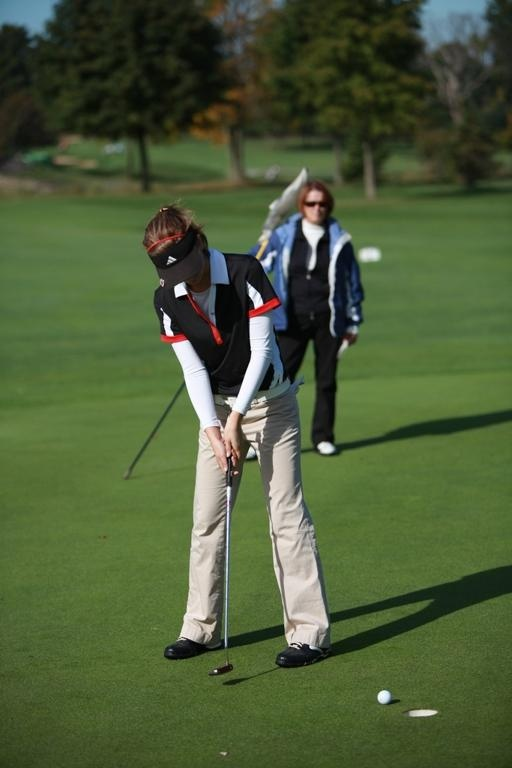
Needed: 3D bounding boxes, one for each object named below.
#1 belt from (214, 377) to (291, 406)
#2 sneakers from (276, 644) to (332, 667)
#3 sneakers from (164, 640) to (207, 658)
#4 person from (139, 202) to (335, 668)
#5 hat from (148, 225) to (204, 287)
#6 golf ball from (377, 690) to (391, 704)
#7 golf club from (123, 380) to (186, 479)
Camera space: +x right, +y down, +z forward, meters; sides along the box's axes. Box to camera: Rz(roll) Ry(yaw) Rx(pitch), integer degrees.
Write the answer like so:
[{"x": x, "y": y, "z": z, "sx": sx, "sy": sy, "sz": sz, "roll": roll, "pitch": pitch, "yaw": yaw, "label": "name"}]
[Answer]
[{"x": 0.007, "y": 0.038, "z": 2.926, "sx": 0.121, "sy": 0.037, "sz": 0.164, "roll": -17, "pitch": 6, "yaw": 42, "label": "belt"}, {"x": 0.158, "y": 0.914, "z": 2.967, "sx": 0.190, "sy": 0.067, "sz": 0.063, "roll": -1, "pitch": 8, "yaw": -22, "label": "sneakers"}, {"x": -0.249, "y": 0.929, "z": 3.057, "sx": 0.145, "sy": 0.056, "sz": 0.053, "roll": 1, "pitch": -6, "yaw": -21, "label": "sneakers"}, {"x": -0.058, "y": 0.187, "z": 2.961, "sx": 0.583, "sy": 1.573, "sz": 0.412, "roll": -2, "pitch": 12, "yaw": 3, "label": "person"}, {"x": -0.246, "y": -0.398, "z": 2.722, "sx": 0.154, "sy": 0.070, "sz": 0.198, "roll": -5, "pitch": 32, "yaw": 25, "label": "hat"}, {"x": 0.402, "y": 0.975, "z": 2.713, "sx": 0.044, "sy": 0.045, "sz": 0.063, "roll": 0, "pitch": 11, "yaw": 8, "label": "golf ball"}, {"x": -0.751, "y": 0.345, "z": 6.388, "sx": 0.094, "sy": 0.869, "sz": 0.045, "roll": 38, "pitch": 19, "yaw": -14, "label": "golf club"}]
